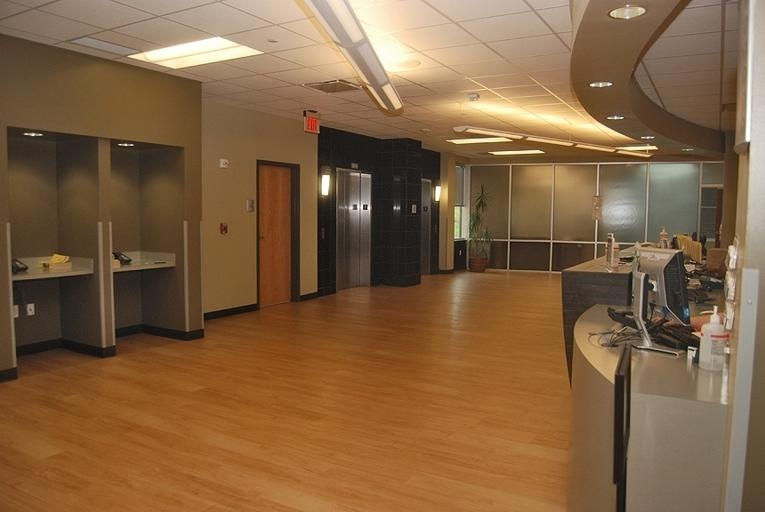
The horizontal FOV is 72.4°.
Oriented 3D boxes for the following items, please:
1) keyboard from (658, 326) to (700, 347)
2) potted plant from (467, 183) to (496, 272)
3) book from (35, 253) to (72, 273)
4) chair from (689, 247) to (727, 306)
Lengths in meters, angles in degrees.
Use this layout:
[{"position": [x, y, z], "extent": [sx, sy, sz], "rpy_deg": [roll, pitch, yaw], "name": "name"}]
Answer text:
[{"position": [2.367, 0.643, 4.169], "extent": [0.185, 0.052, 0.190], "rpy_deg": [-5, 11, -18], "name": "keyboard"}, {"position": [3.016, -0.912, 16.534], "extent": [0.695, 2.596, 0.616], "rpy_deg": [-3, 12, -15], "name": "potted plant"}, {"position": [-4.497, 0.106, 7.149], "extent": [0.310, 0.101, 0.307], "rpy_deg": [5, 7, 23], "name": "book"}, {"position": [4.423, 0.284, 7.105], "extent": [0.518, 0.434, 0.926], "rpy_deg": [12, 17, 43], "name": "chair"}]
